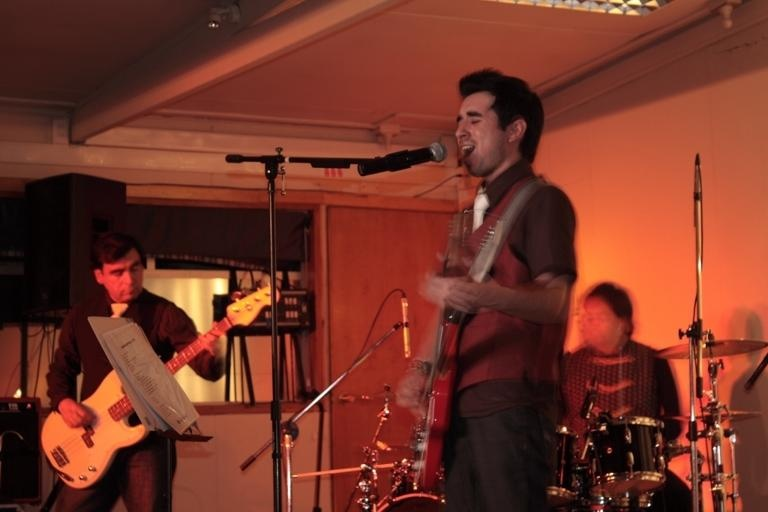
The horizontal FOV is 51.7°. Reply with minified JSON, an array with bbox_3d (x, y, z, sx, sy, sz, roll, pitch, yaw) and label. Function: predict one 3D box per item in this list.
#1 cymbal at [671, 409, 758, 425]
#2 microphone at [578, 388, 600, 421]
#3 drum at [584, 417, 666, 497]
[{"bbox_3d":[2.232,1.065,5.281,0.360,0.093,0.543,6,-9,-40],"label":"cymbal"},{"bbox_3d":[1.465,1.074,5.654,0.060,0.235,0.165,10,21,22],"label":"microphone"},{"bbox_3d":[1.618,1.307,5.246,0.520,0.389,0.535,2,-26,1],"label":"drum"}]
